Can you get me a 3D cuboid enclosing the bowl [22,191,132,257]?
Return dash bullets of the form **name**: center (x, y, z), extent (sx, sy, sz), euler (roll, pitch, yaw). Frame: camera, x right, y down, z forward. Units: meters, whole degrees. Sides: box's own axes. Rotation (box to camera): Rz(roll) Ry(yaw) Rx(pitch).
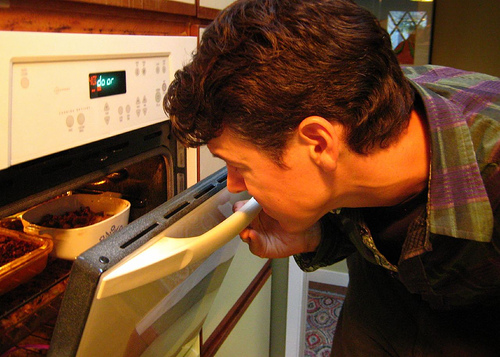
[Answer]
- **bowl**: center (-0.458, 0.128, 1.057), extent (0.208, 0.089, 0.269), euler (9, 20, 18)
